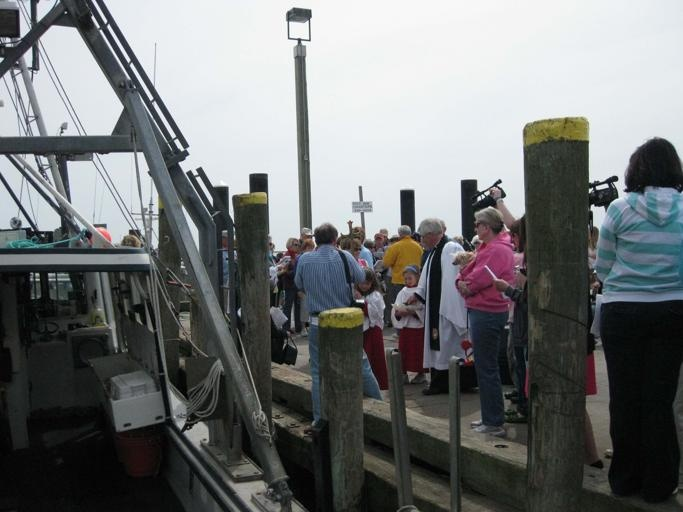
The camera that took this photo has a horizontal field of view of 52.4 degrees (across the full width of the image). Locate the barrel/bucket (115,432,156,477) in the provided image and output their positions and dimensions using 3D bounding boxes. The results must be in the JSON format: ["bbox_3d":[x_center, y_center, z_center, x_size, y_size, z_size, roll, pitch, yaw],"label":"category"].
[{"bbox_3d":[-2.207,2.127,7.549,0.534,0.488,0.588,5,-26,-12],"label":"barrel/bucket"}]

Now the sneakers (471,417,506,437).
[{"bbox_3d":[1.383,1.643,6.560,0.325,0.180,0.134,6,-2,22],"label":"sneakers"}]
